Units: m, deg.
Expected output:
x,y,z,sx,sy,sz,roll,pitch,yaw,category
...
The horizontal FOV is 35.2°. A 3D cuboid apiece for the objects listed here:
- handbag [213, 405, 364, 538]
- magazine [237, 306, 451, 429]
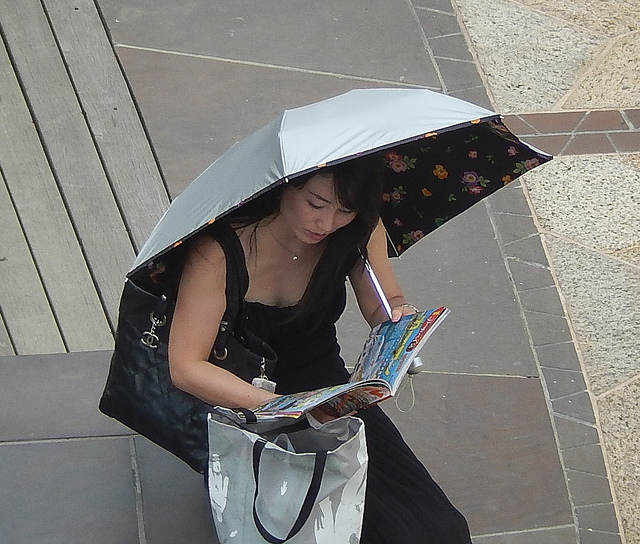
x,y,z,sx,sy,sz,roll,pitch,yaw,category
-0.116,0.691,3.407,0.468,0.257,0.415,5,104,5,handbag
0.087,0.365,3.692,0.767,0.542,0.185,-19,91,-21,magazine
